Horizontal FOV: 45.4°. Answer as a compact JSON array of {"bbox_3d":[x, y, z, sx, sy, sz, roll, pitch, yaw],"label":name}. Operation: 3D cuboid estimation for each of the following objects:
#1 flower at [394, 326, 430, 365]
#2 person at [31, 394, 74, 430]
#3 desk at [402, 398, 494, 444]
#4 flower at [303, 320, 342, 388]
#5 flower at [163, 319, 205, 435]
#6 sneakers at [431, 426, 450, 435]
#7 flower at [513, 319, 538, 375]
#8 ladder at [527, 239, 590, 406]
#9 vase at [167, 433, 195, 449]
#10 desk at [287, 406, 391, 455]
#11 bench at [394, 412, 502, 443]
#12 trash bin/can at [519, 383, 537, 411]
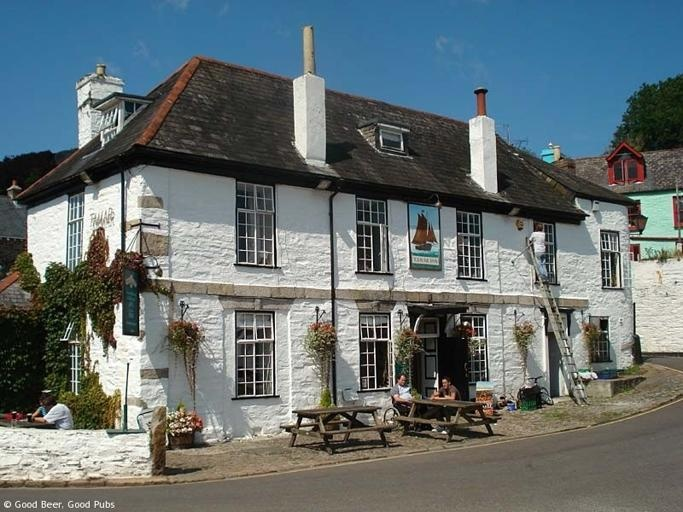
[{"bbox_3d":[2.117,2.750,25.555,0.853,1.179,0.476,8,-16,-41],"label":"flower"},{"bbox_3d":[-7.021,3.675,19.772,0.787,0.986,1.470,4,-14,-30],"label":"person"},{"bbox_3d":[2.946,4.326,22.208,1.479,0.666,1.559,2,-4,-38],"label":"desk"},{"bbox_3d":[-0.547,2.836,23.918,1.191,1.717,0.883,-3,7,-32],"label":"flower"},{"bbox_3d":[-4.086,2.927,21.789,0.535,2.567,1.011,-12,-15,38],"label":"flower"},{"bbox_3d":[2.746,4.811,22.645,0.172,0.208,0.490,10,-8,-43],"label":"sneakers"},{"bbox_3d":[6.466,3.235,28.392,1.079,2.119,0.463,8,-16,-42],"label":"flower"},{"bbox_3d":[7.582,2.095,28.501,1.529,6.079,1.364,-12,-15,37],"label":"ladder"},{"bbox_3d":[-4.194,4.808,21.391,0.463,0.307,0.420,-8,-12,38],"label":"vase"},{"bbox_3d":[-0.207,4.443,21.696,1.746,0.804,1.571,4,-5,-41],"label":"desk"},{"bbox_3d":[3.054,4.588,22.579,2.420,0.960,2.686,-13,-16,37],"label":"bench"},{"bbox_3d":[6.194,4.709,27.333,0.752,0.933,0.635,3,-11,-5],"label":"trash bin/can"}]
